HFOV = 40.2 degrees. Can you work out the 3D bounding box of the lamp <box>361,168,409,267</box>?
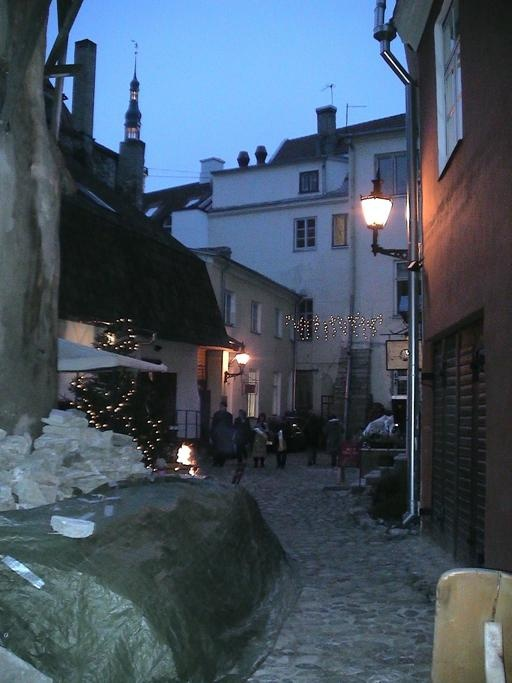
[{"bbox_3d":[1.758,-1.710,9.511,0.609,1.196,0.377,-1,11,-1],"label":"lamp"}]
